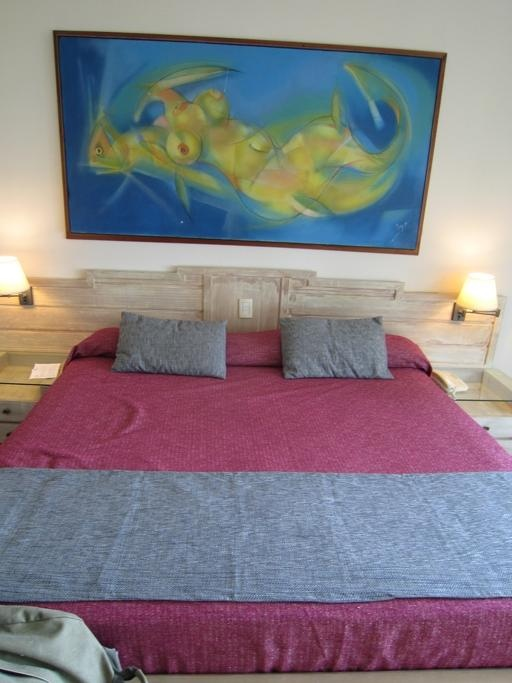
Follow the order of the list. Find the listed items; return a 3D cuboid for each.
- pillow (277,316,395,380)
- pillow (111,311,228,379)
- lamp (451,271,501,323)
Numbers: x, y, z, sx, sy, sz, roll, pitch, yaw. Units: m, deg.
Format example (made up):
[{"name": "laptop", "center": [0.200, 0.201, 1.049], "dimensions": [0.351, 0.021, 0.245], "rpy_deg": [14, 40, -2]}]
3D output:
[{"name": "pillow", "center": [0.402, 0.028, 2.676], "dimensions": [0.504, 0.320, 0.131], "rpy_deg": [-4, -19, -3]}, {"name": "pillow", "center": [-0.446, 0.030, 2.555], "dimensions": [0.370, 0.205, 0.107], "rpy_deg": [3, -25, -2]}, {"name": "lamp", "center": [1.260, -0.229, 2.857], "dimensions": [0.273, 0.288, 0.255], "rpy_deg": [6, 21, 9]}]
